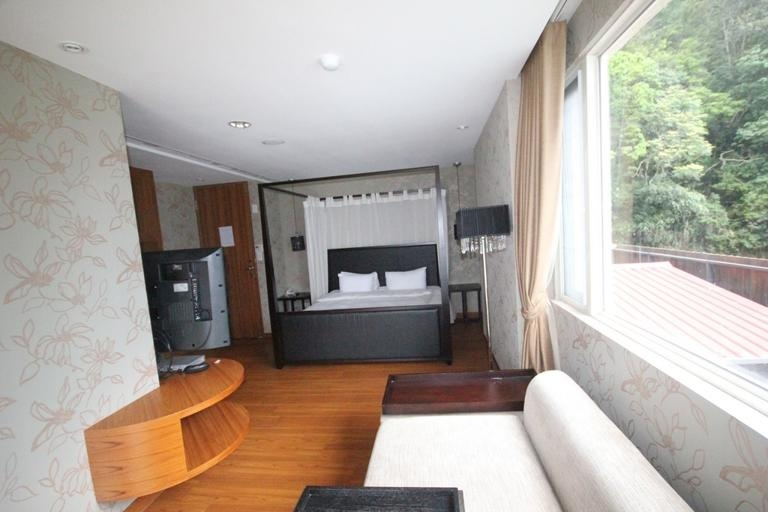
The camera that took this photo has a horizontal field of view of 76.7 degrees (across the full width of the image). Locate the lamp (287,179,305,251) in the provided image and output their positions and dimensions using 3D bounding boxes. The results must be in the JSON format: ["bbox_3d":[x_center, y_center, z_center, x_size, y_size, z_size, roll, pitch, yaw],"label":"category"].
[{"bbox_3d":[-1.282,-0.525,7.138,0.233,0.967,0.596,-7,14,-10],"label":"lamp"}]

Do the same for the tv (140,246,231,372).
[{"bbox_3d":[-1.532,0.413,3.721,0.912,0.939,0.321,-1,10,9],"label":"tv"}]

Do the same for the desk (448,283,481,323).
[{"bbox_3d":[1.085,0.632,6.606,0.500,0.489,0.497,0,-1,-24],"label":"desk"}]

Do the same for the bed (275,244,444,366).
[{"bbox_3d":[-0.173,0.476,6.336,2.046,1.333,2.180,-3,2,14],"label":"bed"}]

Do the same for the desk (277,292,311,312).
[{"bbox_3d":[-1.285,0.645,7.002,0.364,0.354,0.359,-3,5,-36],"label":"desk"}]
